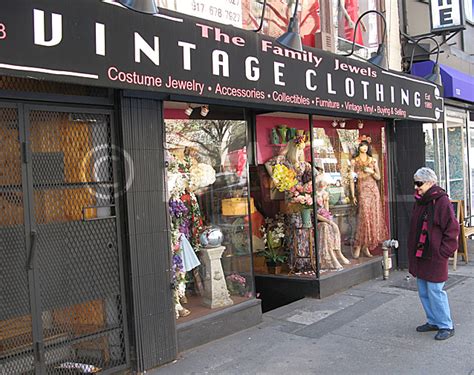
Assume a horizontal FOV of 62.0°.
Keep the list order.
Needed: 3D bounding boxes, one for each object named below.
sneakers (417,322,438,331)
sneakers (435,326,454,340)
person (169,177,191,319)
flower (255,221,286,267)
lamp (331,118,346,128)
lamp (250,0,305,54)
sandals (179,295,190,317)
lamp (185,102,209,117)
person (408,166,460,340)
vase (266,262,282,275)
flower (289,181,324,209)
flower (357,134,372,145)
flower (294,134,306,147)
[{"bbox_3d":[2.313,1.722,4.840,0.254,0.116,0.096,2,0,6],"label":"sneakers"},{"bbox_3d":[2.424,1.715,4.628,0.272,0.120,0.097,3,-8,-34],"label":"sneakers"},{"bbox_3d":[-0.696,0.707,4.776,0.200,1.458,0.386,-2,1,-8],"label":"person"},{"bbox_3d":[0.663,0.936,7.104,0.579,0.902,0.700,0,1,10],"label":"flower"},{"bbox_3d":[1.846,-1.178,7.169,0.223,0.232,0.171,0,-4,-31],"label":"lamp"},{"bbox_3d":[0.585,-2.179,5.152,0.476,0.823,0.731,-2,1,8],"label":"lamp"},{"bbox_3d":[-0.619,1.473,4.775,0.214,0.221,0.122,0,-2,42],"label":"sandals"},{"bbox_3d":[-0.496,-0.990,5.020,0.366,0.129,0.085,-3,1,-40],"label":"lamp"},{"bbox_3d":[2.348,0.763,4.718,0.568,2.007,0.390,-1,2,44],"label":"person"},{"bbox_3d":[0.656,1.402,6.860,0.238,0.187,0.200,4,-7,-39],"label":"vase"},{"bbox_3d":[1.116,0.126,6.691,0.424,0.456,0.318,-6,-16,19],"label":"flower"},{"bbox_3d":[2.497,-0.965,7.706,0.213,0.097,0.225,11,31,25],"label":"flower"},{"bbox_3d":[1.107,-0.819,6.789,0.183,0.189,0.118,-10,15,2],"label":"flower"}]
